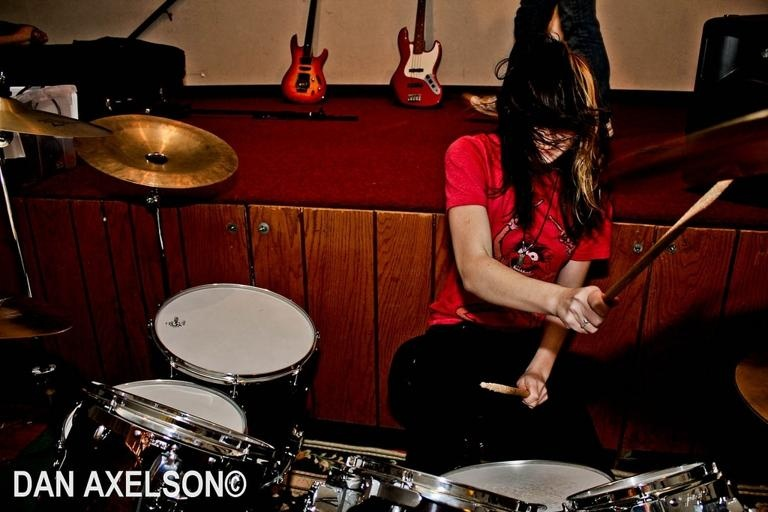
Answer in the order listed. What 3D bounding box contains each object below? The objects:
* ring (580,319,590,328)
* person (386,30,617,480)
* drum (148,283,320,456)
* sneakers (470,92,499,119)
[{"bbox_3d":[0.640,0.219,2.033,0.024,0.024,0.007,7,52,5],"label":"ring"},{"bbox_3d":[0.520,0.008,2.386,0.776,1.331,1.182,13,32,17],"label":"person"},{"bbox_3d":[-0.587,0.479,2.759,0.614,0.612,0.614,15,52,9],"label":"drum"},{"bbox_3d":[0.474,-0.725,3.084,0.153,0.072,0.107,21,18,33],"label":"sneakers"}]
